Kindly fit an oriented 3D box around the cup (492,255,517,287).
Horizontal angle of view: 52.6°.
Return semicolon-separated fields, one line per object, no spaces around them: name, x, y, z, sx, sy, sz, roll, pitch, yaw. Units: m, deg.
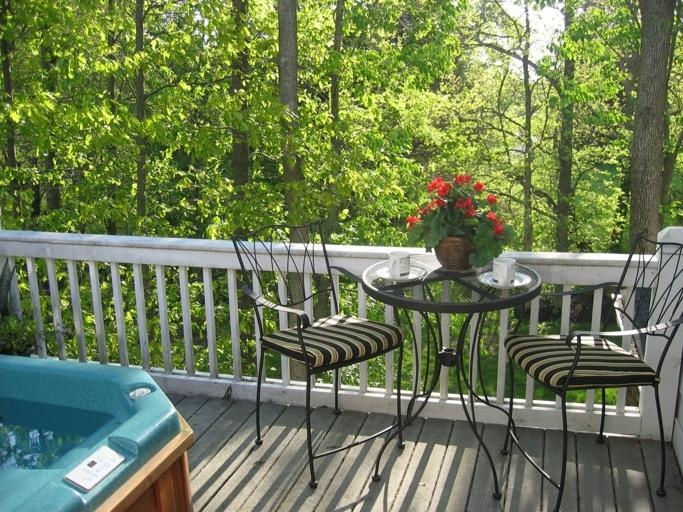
cup;1.042;0.092;4.447;0.141;0.175;0.189;3;8;13

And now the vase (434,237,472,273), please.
vase;0.734;-0.023;4.516;0.199;0.179;0.218;1;7;24

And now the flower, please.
flower;0.758;-0.218;4.524;0.650;0.629;0.280;2;8;8

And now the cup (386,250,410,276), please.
cup;0.381;0.043;4.588;0.096;0.153;0.161;7;21;29
